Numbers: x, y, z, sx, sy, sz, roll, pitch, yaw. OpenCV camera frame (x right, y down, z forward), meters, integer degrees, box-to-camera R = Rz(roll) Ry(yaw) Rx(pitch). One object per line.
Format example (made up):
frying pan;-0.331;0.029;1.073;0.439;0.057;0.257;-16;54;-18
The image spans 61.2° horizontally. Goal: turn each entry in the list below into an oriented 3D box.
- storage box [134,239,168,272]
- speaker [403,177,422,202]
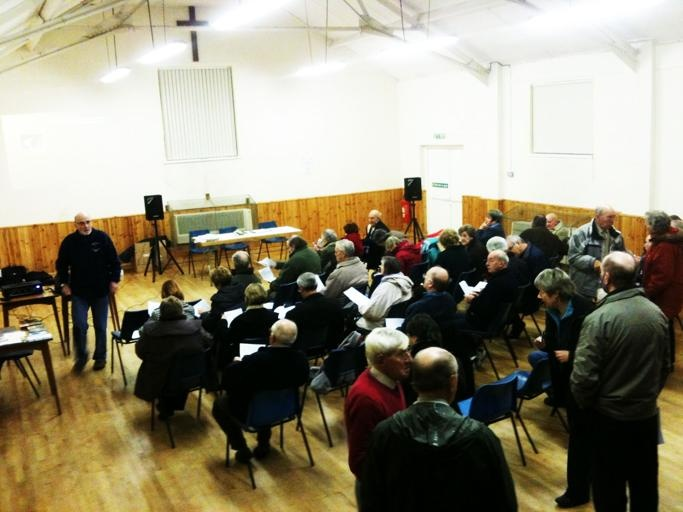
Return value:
storage box;-3.980;-0.011;12.097;0.546;0.821;0.776;7;9;44
speaker;1.654;-1.552;13.262;0.468;0.551;0.203;-10;16;-29
